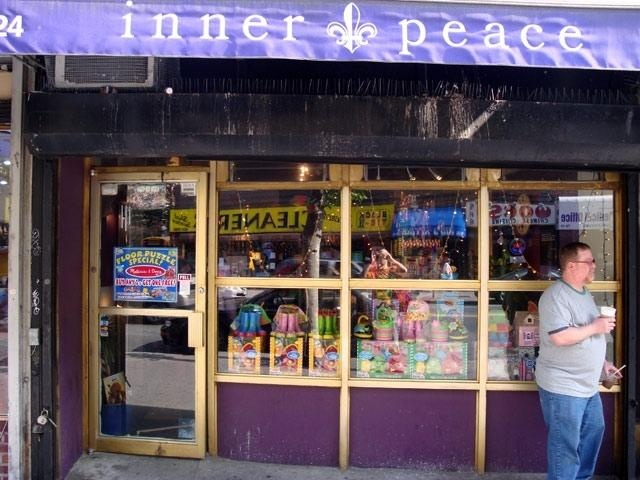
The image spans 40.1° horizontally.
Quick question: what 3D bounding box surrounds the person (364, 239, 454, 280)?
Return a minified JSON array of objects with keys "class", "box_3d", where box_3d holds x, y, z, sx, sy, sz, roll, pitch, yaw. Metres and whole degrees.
[{"class":"person","box_3d":[0.848,0.180,8.320,0.848,0.366,0.168,0,-2,-8]}]
